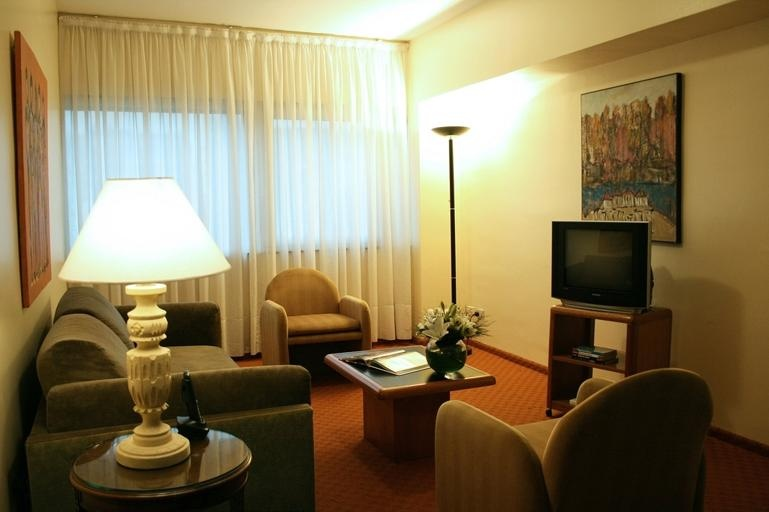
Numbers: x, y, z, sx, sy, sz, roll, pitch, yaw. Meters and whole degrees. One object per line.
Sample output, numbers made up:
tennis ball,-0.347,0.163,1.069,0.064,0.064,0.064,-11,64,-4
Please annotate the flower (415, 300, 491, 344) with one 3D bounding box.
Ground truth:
flower,0.490,0.479,4.081,0.377,0.272,0.427,-4,12,13

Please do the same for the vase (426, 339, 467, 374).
vase,0.444,0.759,4.082,0.259,0.195,0.261,-24,-43,34

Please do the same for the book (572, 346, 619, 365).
book,1.675,0.787,4.650,0.342,0.098,0.190,2,8,23

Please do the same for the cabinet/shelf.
cabinet/shelf,1.799,0.895,4.747,0.719,0.987,0.828,0,3,-31

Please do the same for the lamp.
lamp,-1.151,0.362,2.874,0.708,1.255,0.756,-5,-2,24

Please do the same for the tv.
tv,1.821,0.052,4.750,0.792,0.730,0.485,4,8,42

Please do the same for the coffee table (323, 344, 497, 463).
coffee table,0.150,1.044,4.329,1.142,0.497,1.145,8,-4,-19
